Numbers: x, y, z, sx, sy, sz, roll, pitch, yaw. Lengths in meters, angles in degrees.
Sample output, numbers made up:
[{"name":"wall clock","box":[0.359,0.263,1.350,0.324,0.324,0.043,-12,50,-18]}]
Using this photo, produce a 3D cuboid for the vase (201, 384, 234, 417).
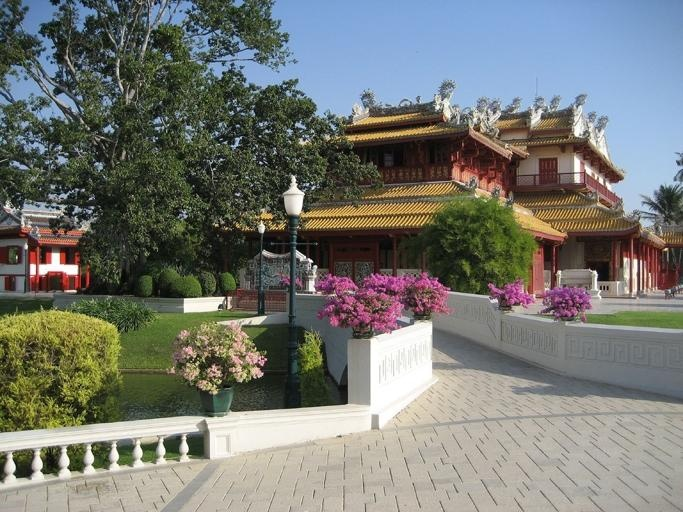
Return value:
[{"name":"vase","box":[-2.090,2.428,10.691,0.443,0.374,0.474,0,-7,-5]}]

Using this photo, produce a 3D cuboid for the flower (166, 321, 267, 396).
[{"name":"flower","box":[-2.345,1.873,11.053,1.264,1.206,1.225,-14,-2,-28]}]
